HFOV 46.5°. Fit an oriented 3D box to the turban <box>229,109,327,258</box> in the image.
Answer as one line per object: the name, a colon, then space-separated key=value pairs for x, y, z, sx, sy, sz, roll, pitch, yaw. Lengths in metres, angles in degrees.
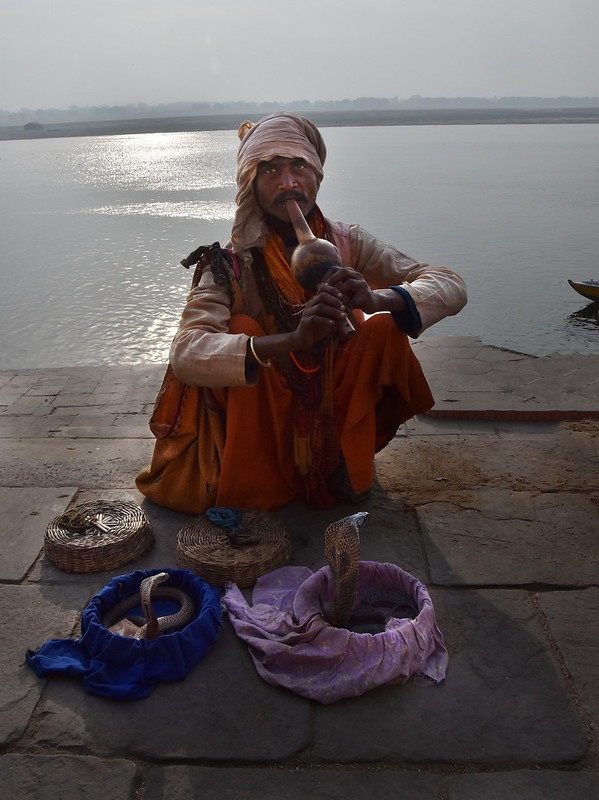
turban: x=-0.087 y=-0.752 z=2.498 sx=0.382 sy=0.482 sz=0.273 roll=-4 pitch=18 yaw=-10

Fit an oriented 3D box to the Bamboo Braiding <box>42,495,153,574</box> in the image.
Bamboo Braiding: x=-0.685 y=0.449 z=2.375 sx=0.347 sy=0.117 sz=0.355 roll=-18 pitch=27 yaw=-38

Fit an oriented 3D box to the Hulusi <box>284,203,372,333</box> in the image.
Hulusi: x=0.044 y=-0.452 z=2.108 sx=0.157 sy=0.253 sz=0.343 roll=-1 pitch=22 yaw=-1

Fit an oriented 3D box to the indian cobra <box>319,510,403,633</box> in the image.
indian cobra: x=0.123 y=0.464 z=1.895 sx=0.103 sy=0.378 sz=0.280 roll=2 pitch=24 yaw=5

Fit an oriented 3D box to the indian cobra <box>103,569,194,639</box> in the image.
indian cobra: x=-0.411 y=0.564 z=1.922 sx=0.216 sy=0.092 sz=0.194 roll=-3 pitch=13 yaw=-21
